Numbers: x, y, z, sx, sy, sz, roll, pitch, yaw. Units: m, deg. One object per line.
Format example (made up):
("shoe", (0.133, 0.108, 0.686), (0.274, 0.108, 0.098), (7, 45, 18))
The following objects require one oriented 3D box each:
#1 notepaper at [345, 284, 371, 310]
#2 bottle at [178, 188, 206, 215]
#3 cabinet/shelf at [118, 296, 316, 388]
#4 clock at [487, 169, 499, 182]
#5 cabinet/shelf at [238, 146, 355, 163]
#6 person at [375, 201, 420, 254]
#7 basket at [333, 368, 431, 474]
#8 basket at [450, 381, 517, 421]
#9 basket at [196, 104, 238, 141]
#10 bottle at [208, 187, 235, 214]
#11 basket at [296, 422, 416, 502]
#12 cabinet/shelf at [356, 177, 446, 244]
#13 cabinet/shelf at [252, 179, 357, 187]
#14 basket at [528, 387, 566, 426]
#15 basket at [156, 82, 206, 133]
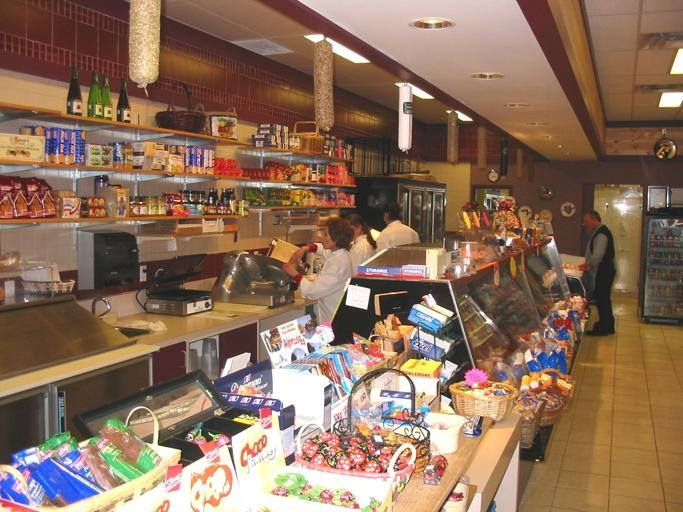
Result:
("notepaper", (0.103, 0.284, 3.493), (0.184, 0.145, 0.040), (10, 0, 17))
("bottle", (-1.332, -0.480, 4.682), (0.282, 0.223, 0.165), (-5, 8, -37))
("cabinet/shelf", (-1.183, 0.767, 4.544), (0.606, 0.565, 1.668), (3, 7, 28))
("clock", (3.278, -1.700, 11.099), (0.191, 0.280, 0.223), (-3, 7, -23))
("cabinet/shelf", (-0.579, -1.198, 6.219), (0.422, 0.106, 1.655), (4, 8, 32))
("person", (0.692, -0.380, 6.675), (0.799, 0.675, 0.411), (-8, 17, -21))
("basket", (0.069, 0.620, 2.147), (0.427, 0.335, 0.406), (-26, -15, 6))
("basket", (0.776, 0.811, 2.928), (0.413, 0.143, 0.357), (-1, 2, -13))
("basket", (-1.103, -1.218, 4.888), (0.459, 0.388, 0.412), (1, 6, -9))
("bottle", (-1.153, -0.521, 4.994), (0.359, 0.290, 0.185), (1, -3, 3))
("basket", (0.059, 0.704, 1.822), (0.394, 0.157, 0.368), (1, 7, 9))
("cabinet/shelf", (1.180, -0.580, 8.830), (0.698, 1.503, 2.006), (-13, 1, 26))
("cabinet/shelf", (-0.460, -0.891, 6.415), (0.320, 0.096, 1.908), (4, 8, 33))
("basket", (1.471, 1.044, 3.666), (0.262, 0.085, 0.289), (3, 6, 35))
("basket", (-1.407, -1.292, 4.619), (0.496, 0.463, 0.521), (0, 11, 7))
